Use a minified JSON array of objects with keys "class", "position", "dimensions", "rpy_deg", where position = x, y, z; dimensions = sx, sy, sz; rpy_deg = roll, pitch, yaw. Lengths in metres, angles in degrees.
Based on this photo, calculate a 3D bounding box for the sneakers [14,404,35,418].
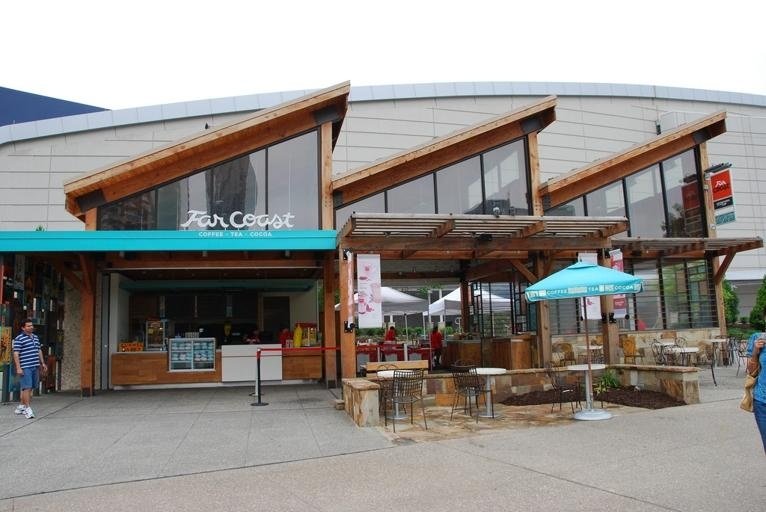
[{"class":"sneakers","position":[-8.559,3.699,15.681],"dimensions":[0.686,0.264,0.242],"rpy_deg":[2,-6,25]}]

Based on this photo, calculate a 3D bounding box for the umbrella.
[{"class":"umbrella","position":[4.546,1.933,14.940],"dimensions":[2.223,3.458,1.076],"rpy_deg":[2,7,32]}]
